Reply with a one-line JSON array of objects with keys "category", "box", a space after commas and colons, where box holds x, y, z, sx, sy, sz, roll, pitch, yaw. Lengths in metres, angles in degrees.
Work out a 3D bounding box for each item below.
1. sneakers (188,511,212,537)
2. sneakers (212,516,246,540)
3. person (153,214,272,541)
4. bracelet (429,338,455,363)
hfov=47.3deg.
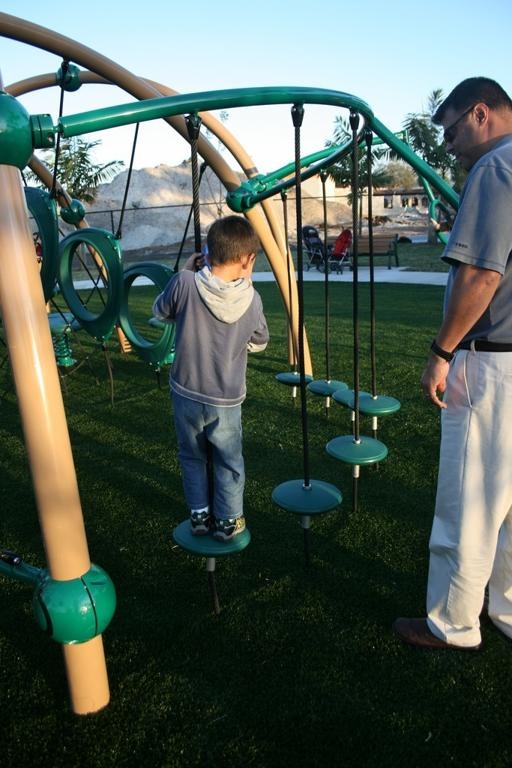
[{"category": "sneakers", "box": [-0.216, 0.520, 2.180, 0.046, 0.050, 0.113, 1, 3, 3]}, {"category": "sneakers", "box": [-0.101, 0.535, 2.208, 0.054, 0.063, 0.142, 3, 10, 24]}, {"category": "person", "box": [-0.155, -0.024, 2.191, 0.425, 1.173, 0.414, -4, 14, -2]}, {"category": "bracelet", "box": [0.598, -0.093, 1.836, 0.072, 0.030, 0.075, 31, 6, -21]}]
